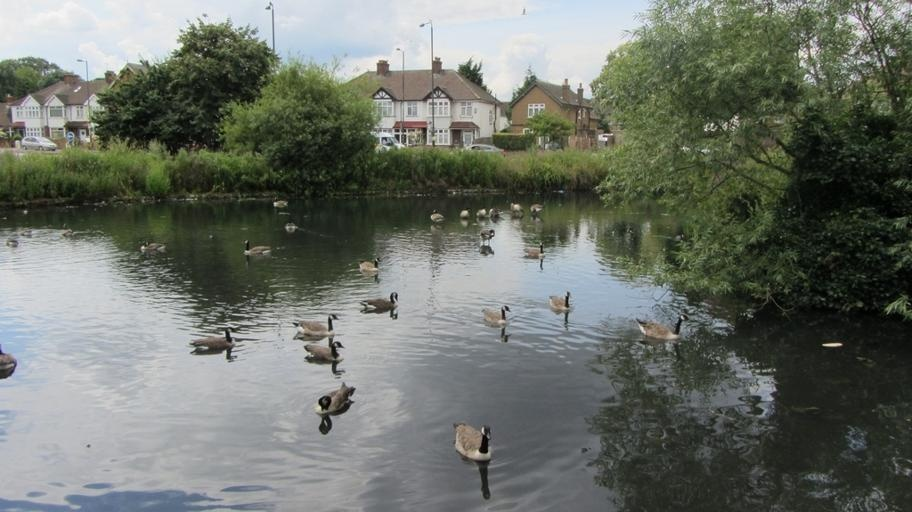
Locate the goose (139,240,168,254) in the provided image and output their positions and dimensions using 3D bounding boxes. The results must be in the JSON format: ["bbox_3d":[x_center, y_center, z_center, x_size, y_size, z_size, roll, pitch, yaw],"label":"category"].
[{"bbox_3d":[-18.701,-0.568,50.433,1.512,0.427,2.066,-6,14,-26],"label":"goose"}]
